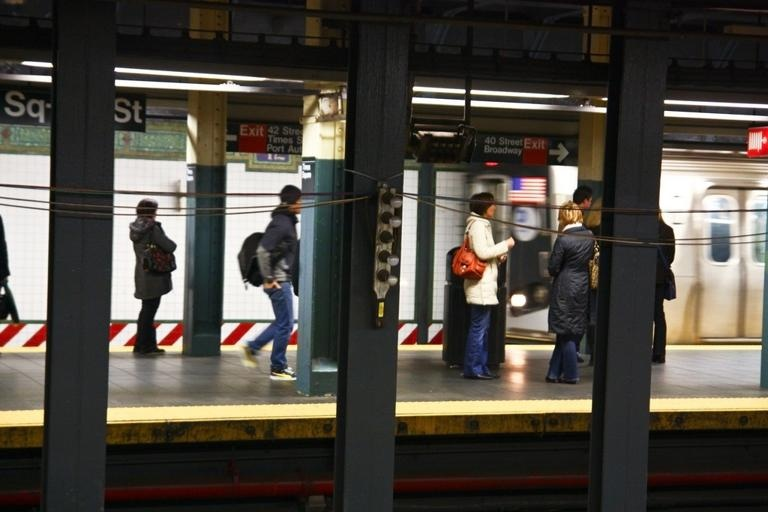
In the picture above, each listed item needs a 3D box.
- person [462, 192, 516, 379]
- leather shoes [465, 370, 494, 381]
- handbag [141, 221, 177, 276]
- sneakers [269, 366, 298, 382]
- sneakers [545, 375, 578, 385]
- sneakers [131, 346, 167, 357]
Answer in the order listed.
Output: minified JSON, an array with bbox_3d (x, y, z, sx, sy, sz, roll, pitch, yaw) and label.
[{"bbox_3d":[1.214,0.374,15.455,0.522,2.206,1.250,2,5,3],"label":"person"},{"bbox_3d":[1.166,1.435,15.635,0.392,0.144,0.116,-1,-2,-2],"label":"leather shoes"},{"bbox_3d":[-2.989,-0.020,17.134,0.419,0.744,0.536,-1,-23,-36],"label":"handbag"},{"bbox_3d":[-1.155,1.416,15.477,0.358,0.153,0.139,0,2,-6],"label":"sneakers"},{"bbox_3d":[2.119,1.479,15.515,0.384,0.131,0.128,0,-1,11],"label":"sneakers"},{"bbox_3d":[-3.015,1.257,17.071,0.446,0.177,0.145,0,2,-23],"label":"sneakers"}]
